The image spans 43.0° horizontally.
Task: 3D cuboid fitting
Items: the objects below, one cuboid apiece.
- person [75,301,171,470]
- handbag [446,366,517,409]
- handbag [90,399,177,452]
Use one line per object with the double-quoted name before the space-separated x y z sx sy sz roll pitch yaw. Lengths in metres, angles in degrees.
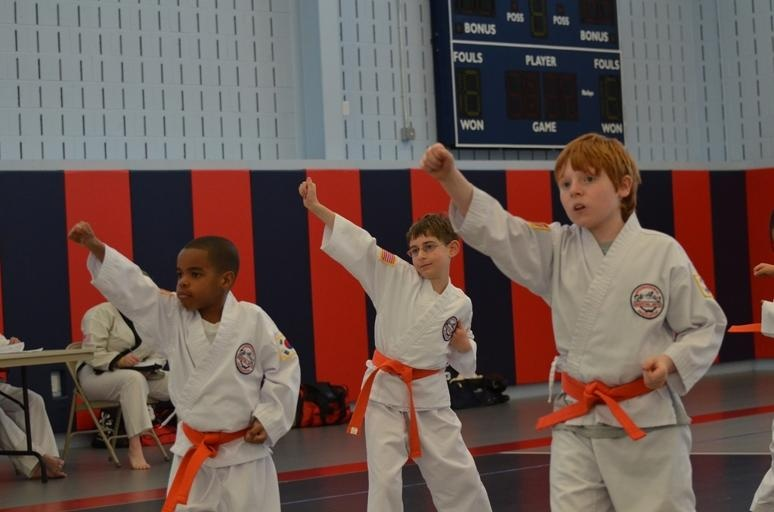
"person" -2.389 1.146 9.054 0.925 1.555 0.956 -1 -10 5
"handbag" 0.936 1.413 10.285 0.562 0.238 0.472 0 0 -19
"handbag" -2.455 1.512 9.034 0.548 0.451 0.390 -1 -12 -16
